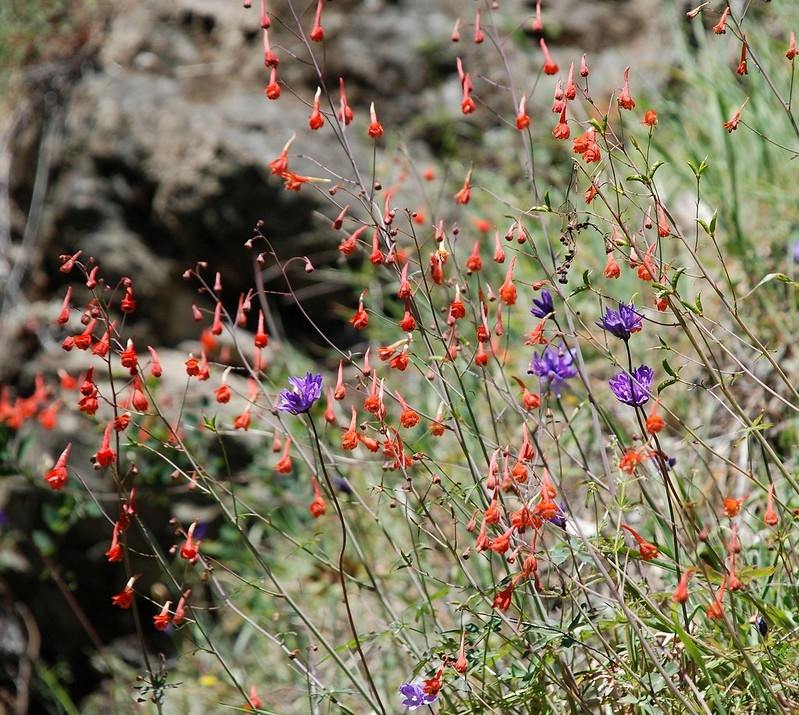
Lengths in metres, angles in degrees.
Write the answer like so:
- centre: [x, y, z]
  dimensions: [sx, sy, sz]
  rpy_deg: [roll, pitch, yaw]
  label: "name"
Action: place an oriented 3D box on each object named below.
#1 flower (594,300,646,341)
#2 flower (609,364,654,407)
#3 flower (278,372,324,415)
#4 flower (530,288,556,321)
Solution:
- centre: [0.828, -0.126, 5.278]
  dimensions: [0.139, 0.104, 0.152]
  rpy_deg: [-21, 44, -3]
  label: "flower"
- centre: [0.863, 0.091, 5.244]
  dimensions: [0.134, 0.103, 0.161]
  rpy_deg: [-31, 33, 7]
  label: "flower"
- centre: [-0.369, 0.152, 5.334]
  dimensions: [0.159, 0.097, 0.159]
  rpy_deg: [-55, -3, -9]
  label: "flower"
- centre: [0.550, -0.196, 5.395]
  dimensions: [0.079, 0.106, 0.117]
  rpy_deg: [13, 45, 14]
  label: "flower"
